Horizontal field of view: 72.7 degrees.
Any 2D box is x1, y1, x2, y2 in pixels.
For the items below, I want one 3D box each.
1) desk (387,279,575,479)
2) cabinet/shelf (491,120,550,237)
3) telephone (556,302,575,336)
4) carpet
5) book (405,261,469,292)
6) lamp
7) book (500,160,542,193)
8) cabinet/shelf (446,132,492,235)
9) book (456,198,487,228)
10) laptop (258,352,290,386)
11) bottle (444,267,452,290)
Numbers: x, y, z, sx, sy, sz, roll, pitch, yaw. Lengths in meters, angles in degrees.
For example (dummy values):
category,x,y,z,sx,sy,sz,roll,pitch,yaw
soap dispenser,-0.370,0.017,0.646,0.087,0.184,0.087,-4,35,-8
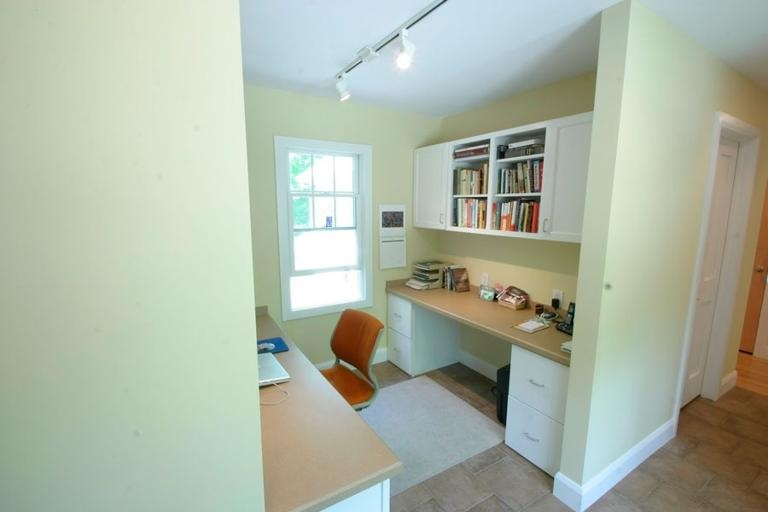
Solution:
category,x,y,z,sx,sy,sz,roll,pitch,yaw
desk,0.848,0.810,4.302,0.736,0.823,2.266,-5,12,-29
cabinet/shelf,0.999,-0.706,3.797,0.422,0.399,0.142,0,8,38
telephone,1.267,0.451,3.647,0.101,0.179,0.184,1,10,-1
carpet,0.350,1.292,3.839,0.650,0.006,0.717,-10,19,-32
book,0.516,0.192,4.756,0.415,0.159,0.290,-5,12,-32
lamp,-0.077,-1.239,3.312,0.520,0.207,0.119,-25,23,27
book,1.006,-0.575,3.823,0.111,0.163,0.276,-1,2,-32
cabinet/shelf,0.697,-0.574,4.275,0.458,0.645,0.190,3,5,10
book,0.721,-0.317,4.335,0.222,0.301,0.315,0,4,19
laptop,-0.631,0.648,2.999,0.164,0.032,0.232,-2,14,-26
bottle,0.581,0.215,4.748,0.057,0.164,0.163,-3,-1,20
